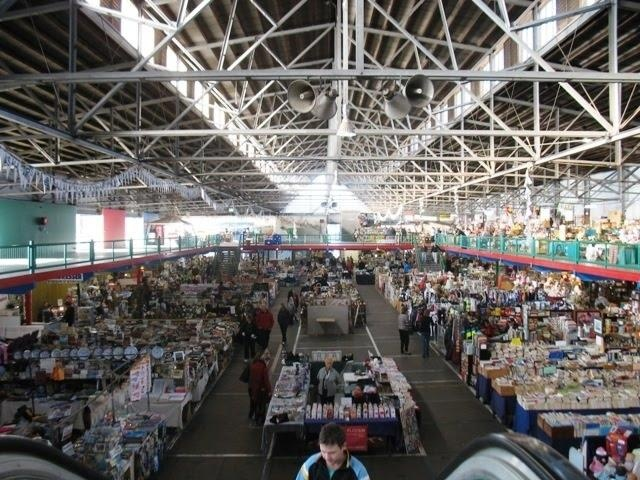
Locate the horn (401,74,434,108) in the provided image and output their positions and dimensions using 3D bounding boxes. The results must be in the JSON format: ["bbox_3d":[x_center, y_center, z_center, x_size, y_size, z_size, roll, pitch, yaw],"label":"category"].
[{"bbox_3d":[2.125,-3.207,10.941,0.636,0.700,0.711,2,7,5],"label":"horn"}]

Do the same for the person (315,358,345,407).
[{"bbox_3d":[0.248,3.350,11.735,0.610,1.180,1.009,-2,2,-1],"label":"person"}]

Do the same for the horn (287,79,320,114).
[{"bbox_3d":[-0.353,-3.156,11.055,0.656,0.569,0.687,3,22,2],"label":"horn"}]

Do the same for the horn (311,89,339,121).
[{"bbox_3d":[0.154,-3.054,11.423,0.482,0.694,0.641,-9,-1,-16],"label":"horn"}]

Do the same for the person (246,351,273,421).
[{"bbox_3d":[-1.434,3.512,11.831,0.571,1.643,0.430,-1,2,6],"label":"person"}]
